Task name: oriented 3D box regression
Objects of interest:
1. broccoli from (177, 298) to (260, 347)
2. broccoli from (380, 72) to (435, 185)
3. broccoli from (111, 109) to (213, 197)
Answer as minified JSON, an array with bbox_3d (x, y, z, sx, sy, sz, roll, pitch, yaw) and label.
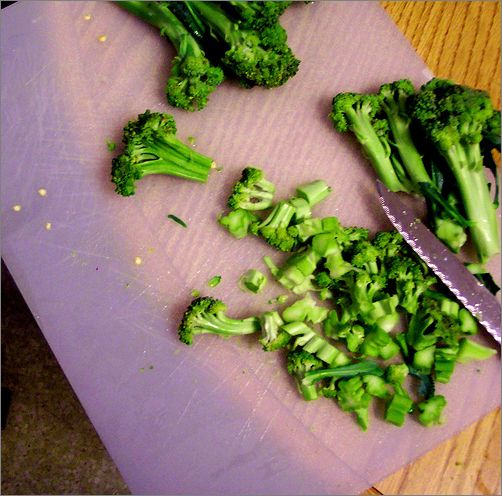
[{"bbox_3d":[-0.123,0.314,2.033,0.297,0.144,0.189,7,32,17],"label":"broccoli"},{"bbox_3d":[0.564,-0.444,2.059,0.161,0.181,0.453,-10,82,-5],"label":"broccoli"},{"bbox_3d":[-0.353,-0.345,2.077,0.357,0.186,0.316,22,86,-10],"label":"broccoli"}]
